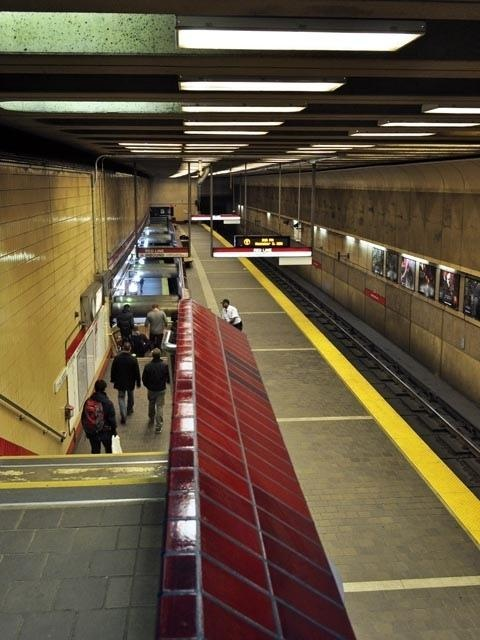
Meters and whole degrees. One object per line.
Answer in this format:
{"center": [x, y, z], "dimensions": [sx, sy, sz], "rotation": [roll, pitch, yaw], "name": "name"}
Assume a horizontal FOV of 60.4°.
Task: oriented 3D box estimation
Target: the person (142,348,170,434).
{"center": [-1.569, 1.280, 7.643], "dimensions": [0.435, 1.832, 1.225], "rotation": [0, 10, -11], "name": "person"}

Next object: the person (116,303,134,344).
{"center": [-3.121, 0.117, 11.295], "dimensions": [0.424, 1.132, 0.710], "rotation": [-1, 10, -15], "name": "person"}

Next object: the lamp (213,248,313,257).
{"center": [0.672, -2.083, 12.570], "dimensions": [2.744, 0.342, 1.235], "rotation": [2, 11, -5], "name": "lamp"}

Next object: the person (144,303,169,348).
{"center": [-2.319, 0.259, 11.498], "dimensions": [0.524, 1.585, 0.415], "rotation": [5, 27, -6], "name": "person"}

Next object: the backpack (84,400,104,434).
{"center": [-2.015, 1.345, 5.679], "dimensions": [0.281, 0.507, 0.211], "rotation": [0, 10, -11], "name": "backpack"}

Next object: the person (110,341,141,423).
{"center": [-2.206, 1.158, 8.000], "dimensions": [0.519, 1.587, 0.541], "rotation": [1, 14, -16], "name": "person"}

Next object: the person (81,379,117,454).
{"center": [-1.982, 1.542, 5.834], "dimensions": [0.479, 1.379, 0.450], "rotation": [-3, 9, -25], "name": "person"}

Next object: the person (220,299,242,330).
{"center": [-0.256, -0.153, 11.925], "dimensions": [0.493, 0.991, 1.227], "rotation": [3, 11, 4], "name": "person"}
